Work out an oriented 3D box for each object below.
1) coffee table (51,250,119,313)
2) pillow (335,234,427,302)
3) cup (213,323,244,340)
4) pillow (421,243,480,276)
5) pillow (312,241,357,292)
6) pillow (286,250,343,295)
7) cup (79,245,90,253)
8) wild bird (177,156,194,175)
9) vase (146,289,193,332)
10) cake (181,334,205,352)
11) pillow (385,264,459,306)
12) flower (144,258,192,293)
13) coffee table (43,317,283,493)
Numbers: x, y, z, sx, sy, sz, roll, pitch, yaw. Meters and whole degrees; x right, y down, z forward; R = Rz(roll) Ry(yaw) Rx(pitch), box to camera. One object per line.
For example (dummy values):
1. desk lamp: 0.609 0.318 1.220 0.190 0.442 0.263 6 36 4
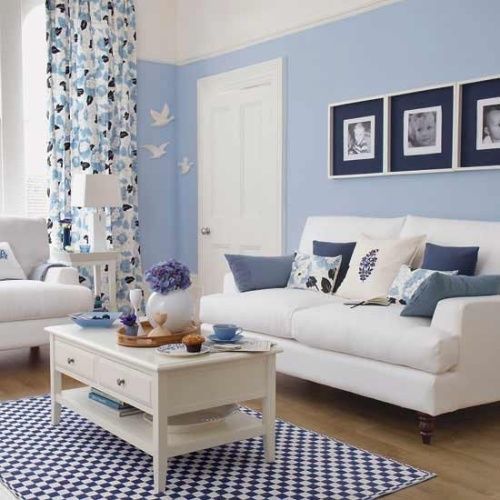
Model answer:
1. coffee table: -1.478 0.280 4.355 0.560 0.559 0.543 3 7 8
2. pillow: 0.726 0.121 2.756 0.224 0.384 0.475 7 -5 -28
3. cup: -0.091 0.298 1.763 0.075 0.033 0.060 2 0 5
4. pillow: 0.997 0.080 2.405 0.105 0.197 0.288 -10 11 -37
5. pillow: 0.542 0.103 3.043 0.090 0.287 0.299 12 -2 -30
6. pillow: 0.420 0.146 3.033 0.104 0.228 0.351 21 -9 -38
7. cup: -1.463 -0.013 4.238 0.074 0.050 0.068 1 -6 0
8. wild bird: -0.680 -0.901 5.078 0.049 0.181 0.255 1 -2 -36
9. vase: -0.304 0.239 1.891 0.179 0.166 0.176 -7 6 7
10. cake: -0.183 0.300 1.548 0.054 0.039 0.054 2 -1 -5
11. pillow: 0.883 0.160 2.362 0.382 0.097 0.406 -6 13 36
12. flower: -0.312 0.097 1.879 0.147 0.097 0.134 1 3 2
13. coffee table: -0.246 0.326 1.687 0.453 0.367 0.830 -1 3 -38
